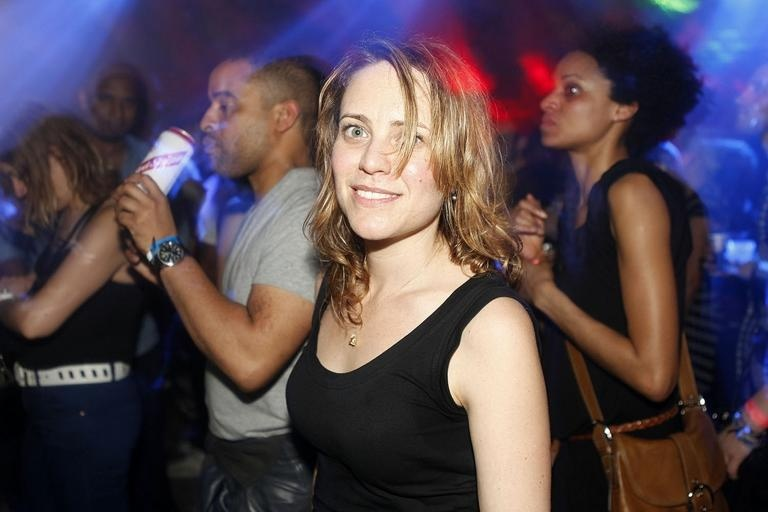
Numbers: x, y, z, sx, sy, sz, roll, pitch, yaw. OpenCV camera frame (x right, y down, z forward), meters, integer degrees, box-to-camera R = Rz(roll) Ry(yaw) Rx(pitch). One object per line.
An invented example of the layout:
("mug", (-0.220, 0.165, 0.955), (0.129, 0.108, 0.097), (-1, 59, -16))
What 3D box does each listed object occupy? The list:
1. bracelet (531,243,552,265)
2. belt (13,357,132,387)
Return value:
("bracelet", (0.665, -0.013, 3.126), (0.058, 0.043, 0.114), (22, 42, 29))
("belt", (-1.305, 0.497, 3.213), (0.602, 0.146, 0.138), (1, 6, -12))
